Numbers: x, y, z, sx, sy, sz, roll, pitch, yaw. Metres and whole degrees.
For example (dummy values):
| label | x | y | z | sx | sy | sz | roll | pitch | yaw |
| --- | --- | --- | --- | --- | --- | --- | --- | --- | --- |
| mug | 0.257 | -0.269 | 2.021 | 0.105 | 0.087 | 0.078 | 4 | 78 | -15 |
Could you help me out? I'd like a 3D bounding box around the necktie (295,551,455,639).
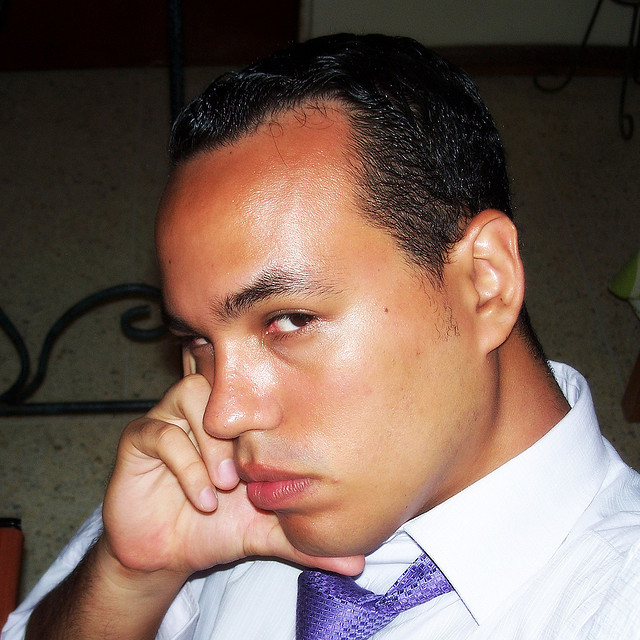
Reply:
| label | x | y | z | sx | sy | sz | roll | pitch | yaw |
| --- | --- | --- | --- | --- | --- | --- | --- | --- | --- |
| necktie | 0.111 | 0.533 | 1.448 | 0.279 | 0.106 | 0.168 | -17 | 22 | -18 |
